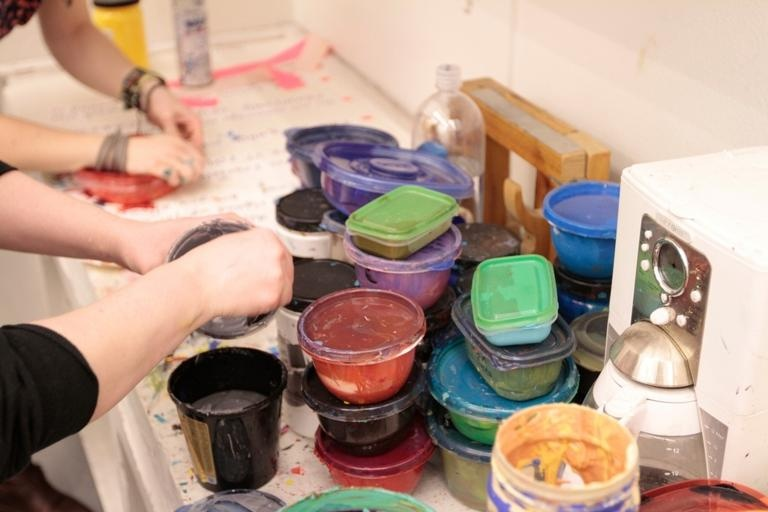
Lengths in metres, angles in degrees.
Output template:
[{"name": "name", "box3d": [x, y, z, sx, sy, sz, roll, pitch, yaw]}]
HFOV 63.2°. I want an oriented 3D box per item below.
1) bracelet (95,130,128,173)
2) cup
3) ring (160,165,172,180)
[{"name": "bracelet", "box3d": [-0.614, -0.228, 1.417, 0.037, 0.069, 0.084, 24, 54, -27]}, {"name": "cup", "box3d": [-0.233, 0.248, 1.012, 0.194, 0.163, 0.204, 1, 33, -1]}, {"name": "ring", "box3d": [-0.498, -0.189, 1.424, 0.024, 0.017, 0.023, 0, 52, 1]}]
